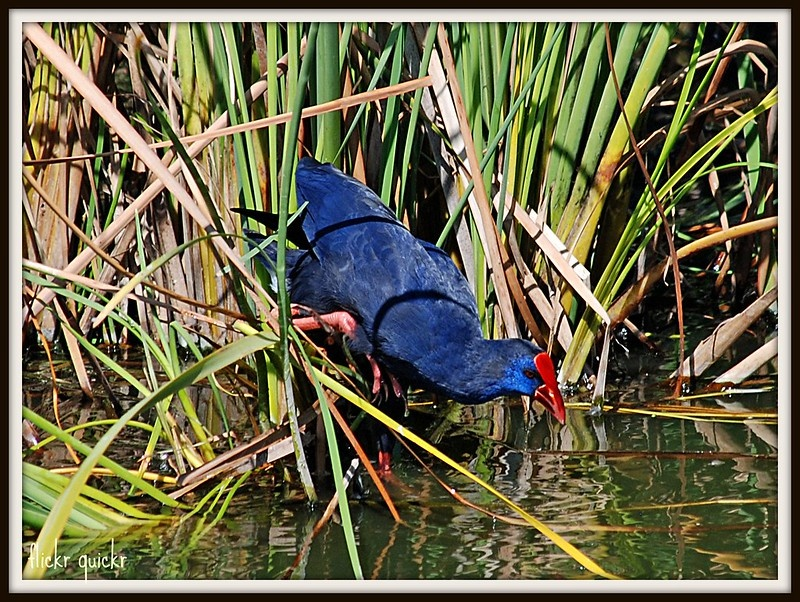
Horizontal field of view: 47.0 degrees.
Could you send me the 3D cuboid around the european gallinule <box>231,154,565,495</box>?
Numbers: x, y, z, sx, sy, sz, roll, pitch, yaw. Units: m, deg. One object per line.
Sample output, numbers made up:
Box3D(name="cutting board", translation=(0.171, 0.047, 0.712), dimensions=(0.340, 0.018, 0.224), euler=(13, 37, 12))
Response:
Box3D(name="european gallinule", translation=(-0.037, 0.124, 4.724), dimensions=(0.886, 1.603, 0.523), euler=(-37, -15, 7))
